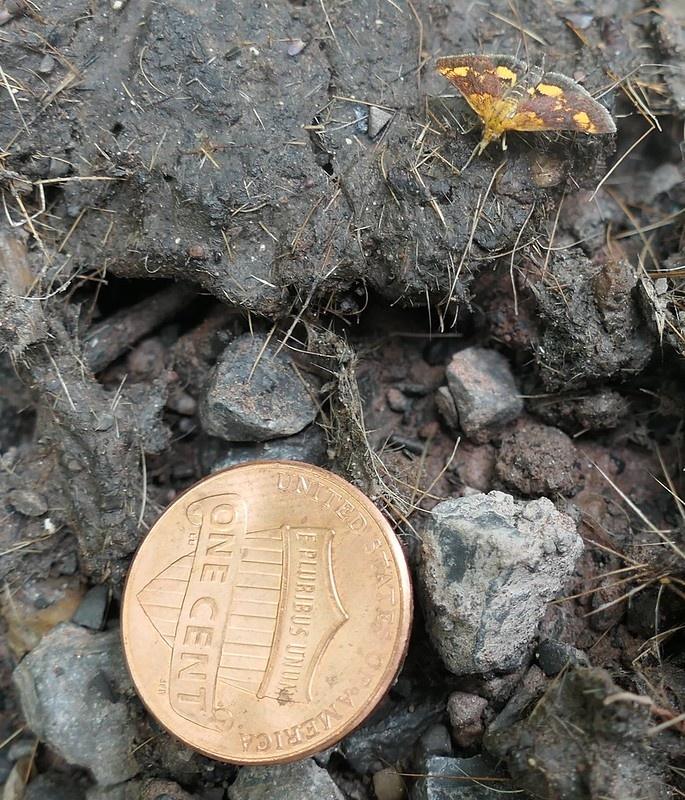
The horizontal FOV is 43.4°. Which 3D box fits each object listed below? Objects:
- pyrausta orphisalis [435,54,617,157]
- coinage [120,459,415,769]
[{"bbox_3d":[0.649,-1.080,3.146,0.653,0.276,0.279,12,67,1],"label":"pyrausta orphisalis"},{"bbox_3d":[-0.268,0.701,2.917,0.979,0.293,0.984,0,66,-4],"label":"coinage"}]
